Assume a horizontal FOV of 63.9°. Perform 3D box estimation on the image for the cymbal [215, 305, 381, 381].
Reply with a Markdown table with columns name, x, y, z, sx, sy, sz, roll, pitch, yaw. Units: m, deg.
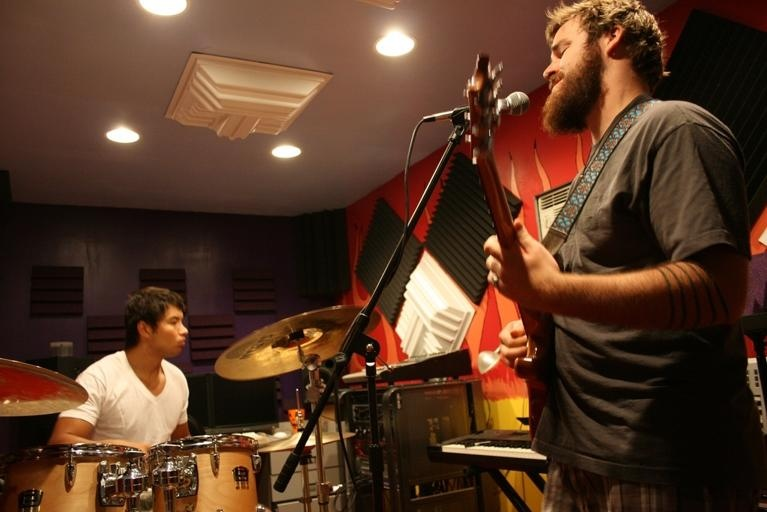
| name | x | y | z | sx | sy | sz | roll | pitch | yaw |
| --- | --- | --- | --- | --- | --- | --- | --- | --- | --- |
| cymbal | -0.597 | 0.524 | 3.689 | 0.778 | 0.285 | 0.802 | 2 | -21 | -17 |

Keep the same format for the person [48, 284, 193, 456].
| name | x | y | z | sx | sy | sz | roll | pitch | yaw |
| --- | --- | --- | --- | --- | --- | --- | --- | --- | --- |
| person | -1.576 | 0.793 | 4.010 | 0.682 | 1.123 | 1.086 | -11 | -18 | 23 |

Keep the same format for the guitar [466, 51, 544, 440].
| name | x | y | z | sx | sy | sz | roll | pitch | yaw |
| --- | --- | --- | --- | --- | --- | --- | --- | --- | --- |
| guitar | 0.433 | -0.064 | 2.077 | 0.180 | 1.152 | 0.825 | -7 | -20 | 12 |

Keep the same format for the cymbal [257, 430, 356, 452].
| name | x | y | z | sx | sy | sz | roll | pitch | yaw |
| --- | --- | --- | --- | --- | --- | --- | --- | --- | --- |
| cymbal | -0.538 | 1.254 | 4.233 | 0.448 | 0.162 | 0.944 | -7 | -21 | 7 |

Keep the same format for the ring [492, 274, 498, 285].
| name | x | y | z | sx | sy | sz | roll | pitch | yaw |
| --- | --- | --- | --- | --- | --- | --- | --- | --- | --- |
| ring | 0.355 | 0.072 | 1.957 | 0.006 | 0.024 | 0.020 | 21 | -65 | -20 |
